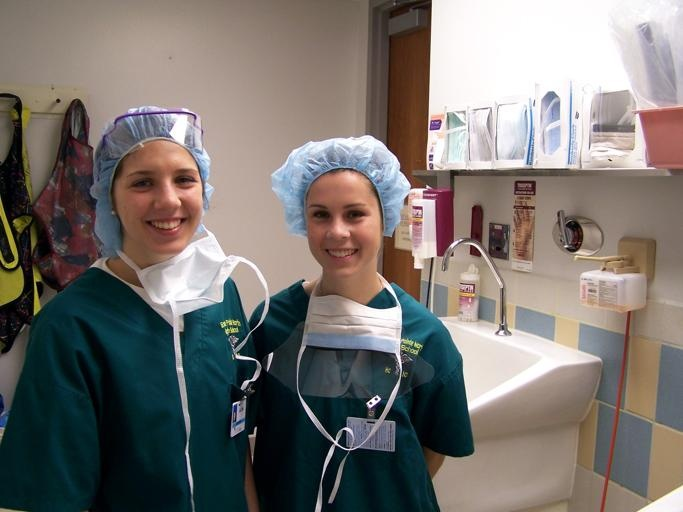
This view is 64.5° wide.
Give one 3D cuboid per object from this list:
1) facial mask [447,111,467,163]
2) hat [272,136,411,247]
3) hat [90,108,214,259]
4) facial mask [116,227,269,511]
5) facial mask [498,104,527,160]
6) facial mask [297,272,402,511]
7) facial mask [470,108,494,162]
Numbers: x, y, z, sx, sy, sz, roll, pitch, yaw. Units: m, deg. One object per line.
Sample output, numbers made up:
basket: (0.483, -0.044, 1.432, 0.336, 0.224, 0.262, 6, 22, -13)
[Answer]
facial mask: (0.430, -0.442, 2.024, 0.105, 0.170, 0.041, 7, 5, 43)
hat: (0.013, -0.223, 1.569, 0.415, 0.144, 0.409, -3, -19, 35)
hat: (-0.490, -0.151, 1.347, 0.271, 0.382, 0.137, 2, -1, -2)
facial mask: (-0.423, 0.288, 1.395, 0.430, 0.584, 0.292, 5, -15, -38)
facial mask: (0.563, -0.409, 1.786, 0.030, 0.198, 0.126, -5, 9, -28)
facial mask: (0.008, 0.282, 1.301, 0.242, 0.563, 0.137, 6, -15, 6)
facial mask: (0.486, -0.409, 1.904, 0.094, 0.201, 0.024, -2, 6, -5)
